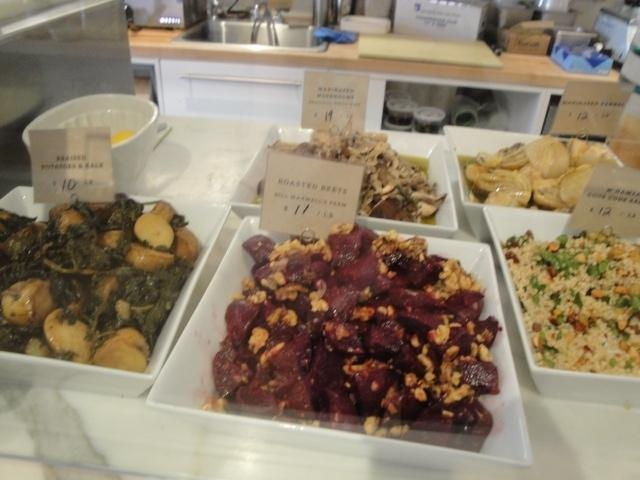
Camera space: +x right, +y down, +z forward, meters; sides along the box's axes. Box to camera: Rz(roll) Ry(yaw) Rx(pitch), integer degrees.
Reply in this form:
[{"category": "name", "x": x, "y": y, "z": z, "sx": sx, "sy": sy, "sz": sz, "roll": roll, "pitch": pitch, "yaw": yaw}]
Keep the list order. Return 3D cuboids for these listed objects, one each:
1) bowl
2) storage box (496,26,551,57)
[{"category": "bowl", "x": -0.594, "y": -0.337, "z": 1.373, "sx": 0.322, "sy": 0.188, "sz": 0.278, "roll": 1, "pitch": 42, "yaw": -2}, {"category": "storage box", "x": 1.031, "y": -0.987, "z": 2.487, "sx": 0.202, "sy": 0.102, "sz": 0.152, "roll": 8, "pitch": 53, "yaw": 11}]
